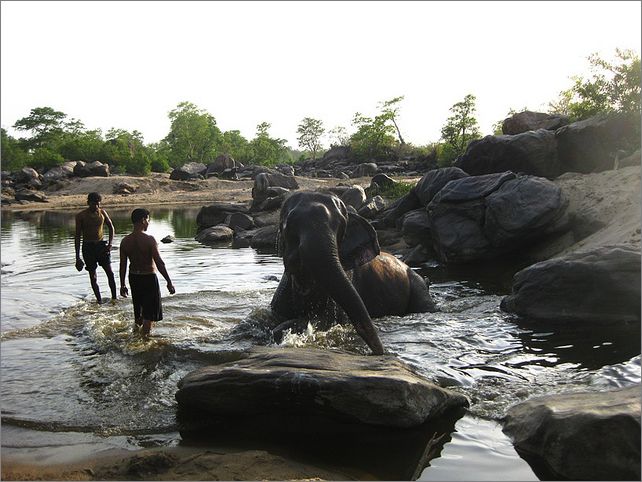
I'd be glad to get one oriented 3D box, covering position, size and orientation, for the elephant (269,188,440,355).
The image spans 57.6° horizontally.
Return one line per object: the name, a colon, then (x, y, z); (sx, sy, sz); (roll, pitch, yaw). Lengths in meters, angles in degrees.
elephant: (0.508, 0.265, 9.472); (2.633, 2.289, 3.896); (1, 8, 11)
